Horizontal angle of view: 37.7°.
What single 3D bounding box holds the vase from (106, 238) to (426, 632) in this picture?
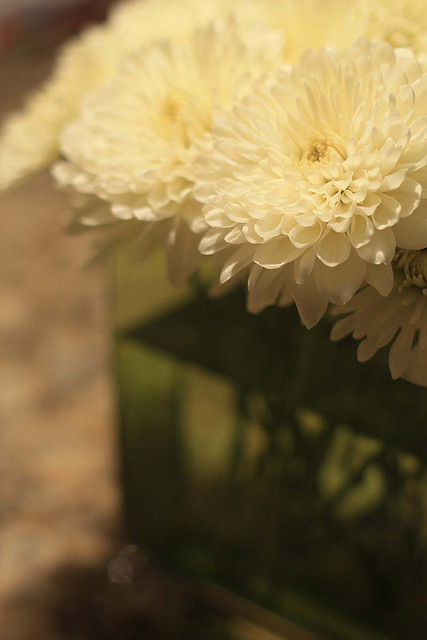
[{"bbox_3d":[0.025,0.047,0.314,0.157,0.051,0.202,-5,61,2],"label":"vase"}]
